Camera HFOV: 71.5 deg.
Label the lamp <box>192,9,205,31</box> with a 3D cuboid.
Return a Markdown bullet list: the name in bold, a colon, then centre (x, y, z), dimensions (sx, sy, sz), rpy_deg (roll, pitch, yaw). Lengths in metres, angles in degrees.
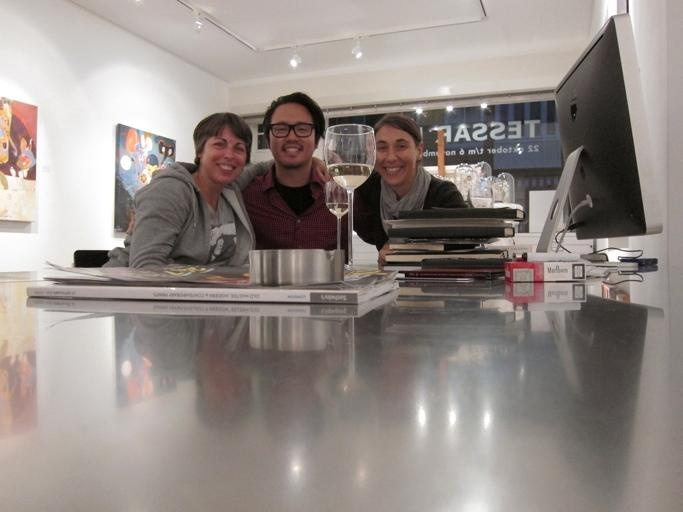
- **lamp**: centre (-1.298, -2.129, 4.256), dimensions (0.088, 0.051, 0.132), rpy_deg (6, -19, -1)

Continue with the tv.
- **tv**: centre (0.515, -0.222, 0.984), dimensions (0.194, 0.421, 0.491), rpy_deg (1, 2, 23)
